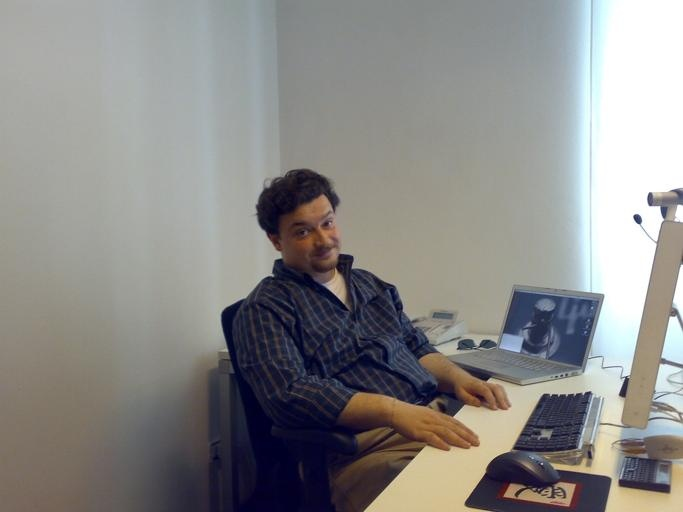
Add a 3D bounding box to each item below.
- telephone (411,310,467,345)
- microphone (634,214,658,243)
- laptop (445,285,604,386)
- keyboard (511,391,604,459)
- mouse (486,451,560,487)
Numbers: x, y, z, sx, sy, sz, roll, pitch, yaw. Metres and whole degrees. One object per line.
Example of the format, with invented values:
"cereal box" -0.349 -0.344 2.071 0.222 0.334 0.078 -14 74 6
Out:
"telephone" 0.467 0.367 2.619 0.226 0.146 0.289 -5 1 -35
"microphone" 1.476 -0.133 2.475 0.045 0.195 0.033 -28 13 44
"laptop" 0.739 0.331 2.068 0.291 0.463 0.471 23 -7 -30
"keyboard" 0.660 0.508 1.547 0.215 0.062 0.373 -10 5 37
"mouse" 0.458 0.529 1.304 0.129 0.050 0.083 -8 -3 28
